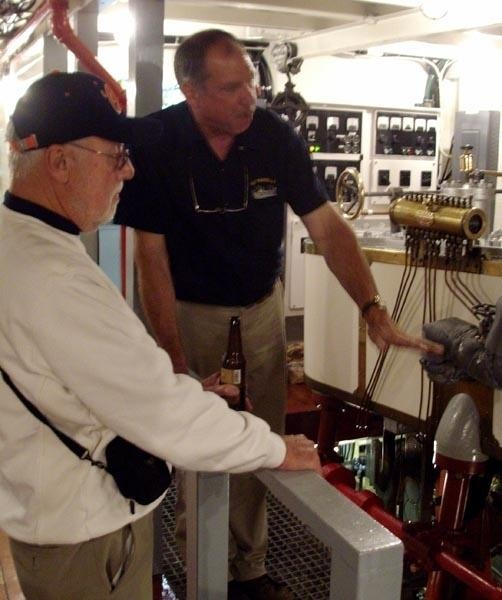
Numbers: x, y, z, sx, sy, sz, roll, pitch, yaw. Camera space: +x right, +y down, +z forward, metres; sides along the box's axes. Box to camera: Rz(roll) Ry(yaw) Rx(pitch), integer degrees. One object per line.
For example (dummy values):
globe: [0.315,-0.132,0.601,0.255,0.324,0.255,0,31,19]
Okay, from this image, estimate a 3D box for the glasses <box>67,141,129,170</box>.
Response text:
glasses: [-0.259,-0.259,1.024,0.060,0.016,0.045,18,17,-7]

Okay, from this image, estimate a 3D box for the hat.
hat: [-0.288,-0.333,1.035,0.271,0.132,0.167,-12,11,-6]

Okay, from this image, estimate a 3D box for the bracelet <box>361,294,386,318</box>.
bracelet: [0.460,0.019,2.210,0.090,0.033,0.067,-40,4,11]
